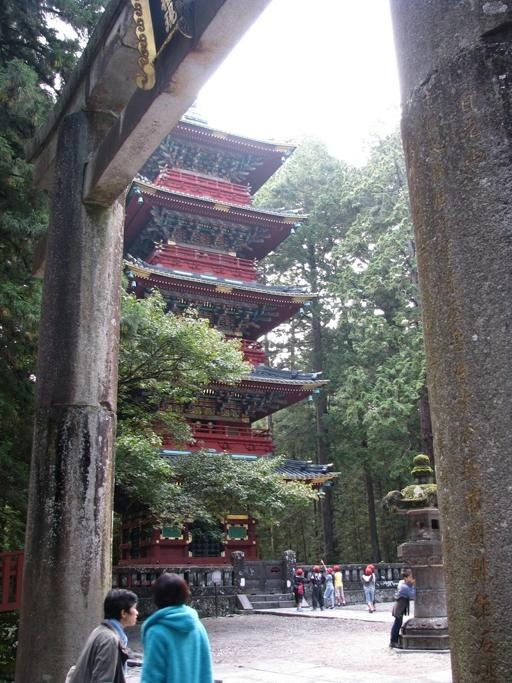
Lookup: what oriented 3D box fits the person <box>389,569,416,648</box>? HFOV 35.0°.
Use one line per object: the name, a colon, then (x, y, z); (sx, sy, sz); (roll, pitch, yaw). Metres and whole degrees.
person: (1.546, 2.849, 8.618); (0.346, 0.780, 0.651); (-7, -19, 3)
